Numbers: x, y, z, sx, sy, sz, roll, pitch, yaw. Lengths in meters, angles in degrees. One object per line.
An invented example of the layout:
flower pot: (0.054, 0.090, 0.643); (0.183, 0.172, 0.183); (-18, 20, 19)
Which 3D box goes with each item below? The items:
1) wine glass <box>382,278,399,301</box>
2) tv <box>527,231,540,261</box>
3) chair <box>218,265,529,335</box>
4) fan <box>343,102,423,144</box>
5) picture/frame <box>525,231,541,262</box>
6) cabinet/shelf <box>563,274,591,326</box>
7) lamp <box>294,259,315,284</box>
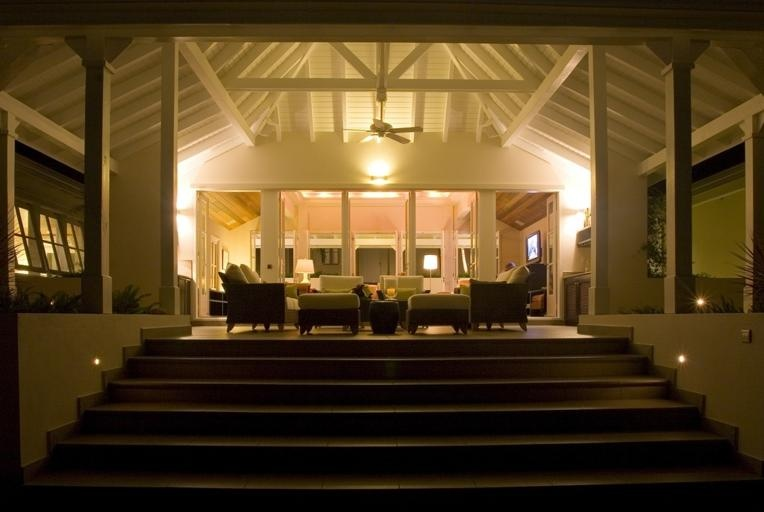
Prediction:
wine glass: (0.145, 0.531, 11.055); (0.270, 0.549, 0.285); (0, -1, 11)
tv: (3.594, -0.231, 15.051); (0.204, 0.628, 0.597); (5, -9, -4)
chair: (-0.222, 0.580, 8.693); (4.047, 0.918, 0.933); (1, -5, -2)
fan: (0.013, -2.649, 12.542); (0.898, 0.733, 0.893); (10, -13, -38)
picture/frame: (3.619, -0.223, 15.196); (0.232, 0.719, 0.683); (5, -9, -4)
cabinet/shelf: (3.483, 0.770, 11.311); (0.465, 0.974, 0.963); (1, -4, 3)
lamp: (-1.635, 0.314, 13.300); (0.436, 0.543, 0.459); (-1, 1, 22)
